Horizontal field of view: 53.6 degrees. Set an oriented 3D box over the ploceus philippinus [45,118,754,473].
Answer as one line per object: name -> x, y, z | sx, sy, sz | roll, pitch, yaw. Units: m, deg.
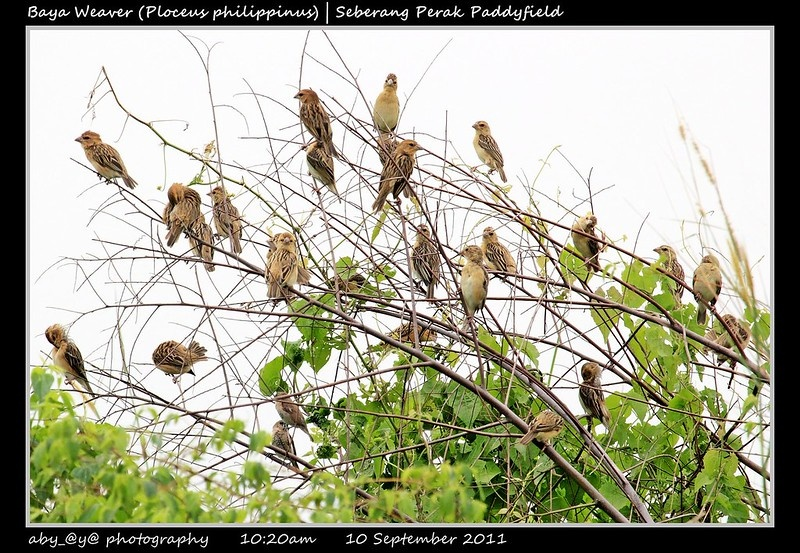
ploceus philippinus -> 0.330, 0.277, 4.963 | 3.163, 0.913, 3.109 | 2, 1, -24
